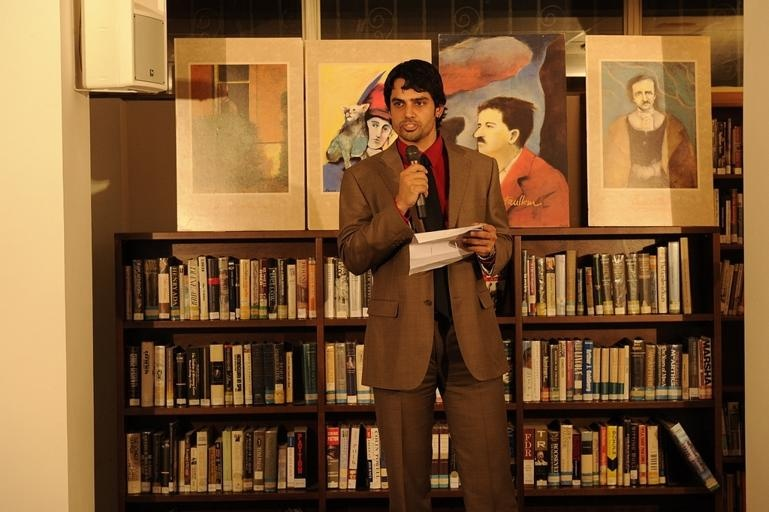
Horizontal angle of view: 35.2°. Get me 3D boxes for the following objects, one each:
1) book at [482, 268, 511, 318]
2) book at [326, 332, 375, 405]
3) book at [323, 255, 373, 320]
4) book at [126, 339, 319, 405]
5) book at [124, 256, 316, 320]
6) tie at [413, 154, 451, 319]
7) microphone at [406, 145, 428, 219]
[{"bbox_3d":[0.740,0.218,7.841,0.161,0.278,0.160,-8,-3,-8],"label":"book"},{"bbox_3d":[-0.237,0.771,7.957,0.334,0.508,0.348,0,1,4],"label":"book"},{"bbox_3d":[-0.277,0.203,7.767,0.315,0.450,0.335,3,-2,-19],"label":"book"},{"bbox_3d":[-1.081,0.758,7.756,1.110,0.415,0.111,-1,-2,-2],"label":"book"},{"bbox_3d":[-1.040,0.210,7.767,1.213,0.402,0.144,-1,-2,0],"label":"book"},{"bbox_3d":[0.268,-0.087,6.826,0.157,1.067,0.132,-3,-18,0],"label":"tie"},{"bbox_3d":[0.175,-0.406,6.799,0.109,0.434,0.128,-1,-2,1],"label":"microphone"}]
